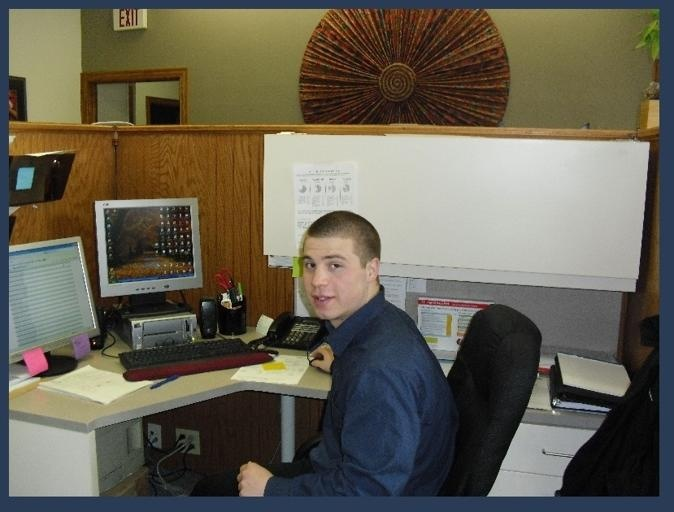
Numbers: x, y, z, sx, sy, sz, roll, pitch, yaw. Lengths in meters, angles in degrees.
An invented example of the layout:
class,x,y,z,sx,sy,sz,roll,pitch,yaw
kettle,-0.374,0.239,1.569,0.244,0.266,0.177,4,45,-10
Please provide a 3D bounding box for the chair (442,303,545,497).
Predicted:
class,x,y,z,sx,sy,sz,roll,pitch,yaw
chair,0.429,0.390,1.449,0.240,0.457,0.388,3,14,13

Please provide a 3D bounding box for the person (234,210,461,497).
class,x,y,z,sx,sy,sz,roll,pitch,yaw
person,0.078,0.182,1.940,0.771,1.278,0.836,3,6,14

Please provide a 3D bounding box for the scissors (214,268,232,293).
class,x,y,z,sx,sy,sz,roll,pitch,yaw
scissors,-0.514,0.110,2.396,0.075,0.129,0.033,-21,1,-19

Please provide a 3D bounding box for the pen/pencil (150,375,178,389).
class,x,y,z,sx,sy,sz,roll,pitch,yaw
pen/pencil,-0.624,0.458,1.911,0.025,0.021,0.125,24,15,16

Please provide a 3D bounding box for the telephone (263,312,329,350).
class,x,y,z,sx,sy,sz,roll,pitch,yaw
telephone,-0.165,0.328,2.354,0.215,0.095,0.289,3,13,15

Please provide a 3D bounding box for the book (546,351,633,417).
class,x,y,z,sx,sy,sz,roll,pitch,yaw
book,0.921,0.437,1.916,0.208,0.056,0.203,3,16,17

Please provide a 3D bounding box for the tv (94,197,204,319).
class,x,y,z,sx,sy,sz,roll,pitch,yaw
tv,-0.835,-0.010,2.334,0.434,0.490,0.255,-4,5,-28
